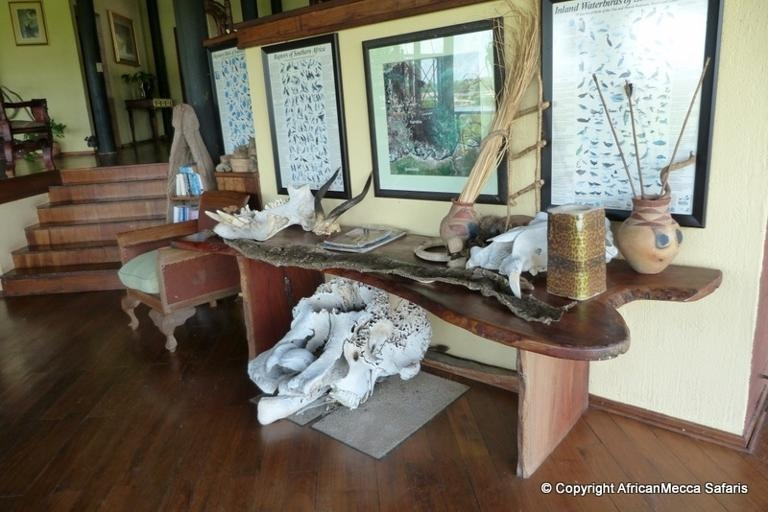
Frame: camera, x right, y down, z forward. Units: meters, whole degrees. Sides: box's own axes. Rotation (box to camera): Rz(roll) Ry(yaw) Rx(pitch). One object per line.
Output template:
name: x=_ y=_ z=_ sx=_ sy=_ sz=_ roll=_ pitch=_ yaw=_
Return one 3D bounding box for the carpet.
carpet: x=-0.065 y=0.906 z=3.046 sx=0.557 sy=0.007 sz=0.632 roll=13 pitch=21 yaw=41

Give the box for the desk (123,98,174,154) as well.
desk: x=-4.792 y=-2.792 z=10.739 sx=0.780 sy=0.848 sz=1.505 roll=-6 pitch=16 yaw=-11

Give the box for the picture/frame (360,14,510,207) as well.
picture/frame: x=0.322 y=-0.879 z=3.030 sx=1.243 sy=1.265 sz=0.058 roll=6 pitch=19 yaw=28

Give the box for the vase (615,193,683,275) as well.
vase: x=1.308 y=-0.103 z=2.563 sx=0.327 sy=0.339 sz=0.304 roll=1 pitch=16 yaw=15

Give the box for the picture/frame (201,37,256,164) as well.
picture/frame: x=-1.475 y=-1.515 z=5.028 sx=0.142 sy=1.042 sz=0.581 roll=-19 pitch=24 yaw=-40

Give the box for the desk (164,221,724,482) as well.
desk: x=0.020 y=0.396 z=3.288 sx=3.300 sy=1.032 sz=1.039 roll=10 pitch=21 yaw=36
